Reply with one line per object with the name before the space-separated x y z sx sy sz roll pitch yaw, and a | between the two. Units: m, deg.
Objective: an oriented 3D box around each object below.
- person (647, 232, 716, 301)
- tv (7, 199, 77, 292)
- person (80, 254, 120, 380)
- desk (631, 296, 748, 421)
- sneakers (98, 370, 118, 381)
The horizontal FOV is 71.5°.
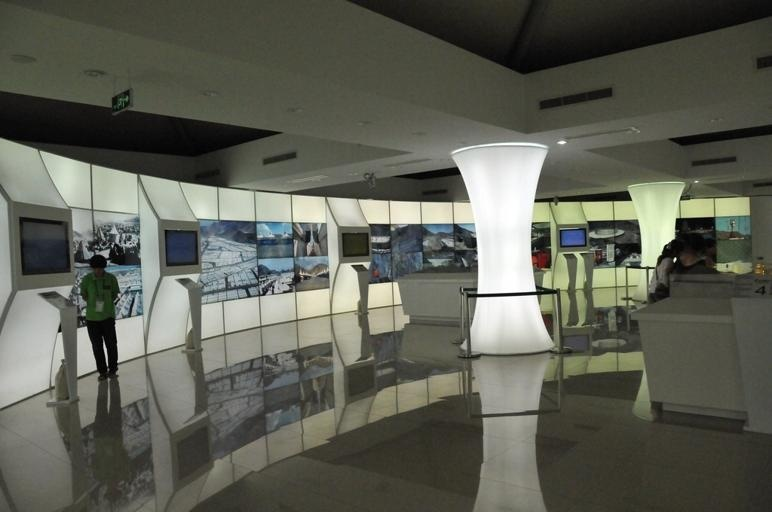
person | 5.226 0.215 9.409 0.917 1.063 0.821 0 4 25
tv | -5.538 -0.162 8.587 0.183 1.720 1.565 -3 -2 23
person | -5.354 1.170 10.143 0.613 2.358 0.613 -4 4 -36
desk | 4.573 1.408 8.136 1.493 1.404 1.511 -2 5 40
sneakers | -5.329 2.299 10.305 0.153 0.177 0.414 -3 -9 17
